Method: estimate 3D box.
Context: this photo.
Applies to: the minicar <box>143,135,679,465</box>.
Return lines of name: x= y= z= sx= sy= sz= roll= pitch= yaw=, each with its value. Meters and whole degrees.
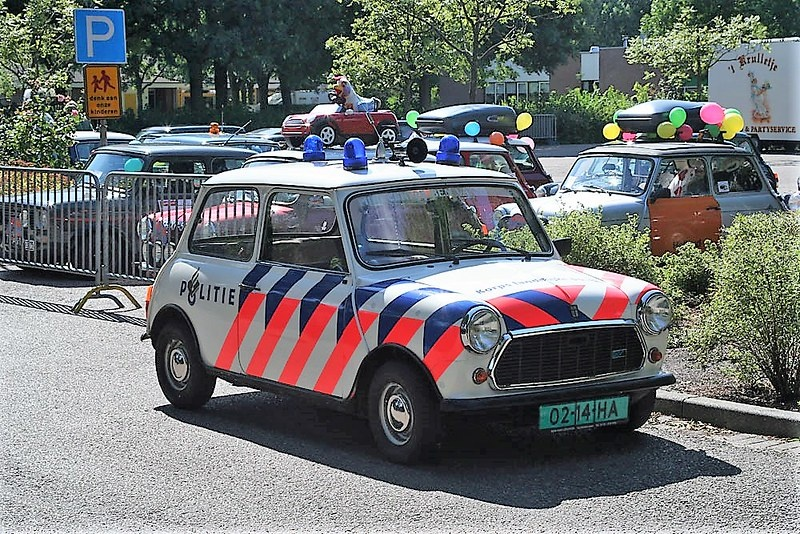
minicar: x=-0.202 y=0.218 z=7.167 sx=2.358 sy=2.162 sz=4.022 roll=-3 pitch=6 yaw=-43

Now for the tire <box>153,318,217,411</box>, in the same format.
tire: x=-2.007 y=0.903 z=7.652 sx=0.810 sy=1.027 sz=0.283 roll=0 pitch=1 yaw=39

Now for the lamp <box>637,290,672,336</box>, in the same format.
lamp: x=2.016 y=0.356 z=6.435 sx=0.372 sy=0.343 sz=0.081 roll=-7 pitch=11 yaw=-36

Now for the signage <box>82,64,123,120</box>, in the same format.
signage: x=-5.881 y=-3.485 z=16.136 sx=0.665 sy=1.002 sz=0.472 roll=-5 pitch=10 yaw=-25

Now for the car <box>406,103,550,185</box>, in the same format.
car: x=2.391 y=-2.835 z=18.397 sx=2.965 sy=1.856 sz=1.780 roll=-4 pitch=8 yaw=-20

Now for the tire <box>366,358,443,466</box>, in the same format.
tire: x=0.049 y=1.064 z=6.061 sx=0.228 sy=0.856 sz=0.683 roll=-8 pitch=12 yaw=-39

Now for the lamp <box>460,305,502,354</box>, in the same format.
lamp: x=0.563 y=0.449 z=5.788 sx=0.260 sy=0.287 sz=0.138 roll=10 pitch=1 yaw=-28

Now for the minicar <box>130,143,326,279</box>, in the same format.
minicar: x=-1.171 y=-0.576 z=9.117 sx=2.825 sy=1.466 sz=1.603 roll=-3 pitch=3 yaw=-43
